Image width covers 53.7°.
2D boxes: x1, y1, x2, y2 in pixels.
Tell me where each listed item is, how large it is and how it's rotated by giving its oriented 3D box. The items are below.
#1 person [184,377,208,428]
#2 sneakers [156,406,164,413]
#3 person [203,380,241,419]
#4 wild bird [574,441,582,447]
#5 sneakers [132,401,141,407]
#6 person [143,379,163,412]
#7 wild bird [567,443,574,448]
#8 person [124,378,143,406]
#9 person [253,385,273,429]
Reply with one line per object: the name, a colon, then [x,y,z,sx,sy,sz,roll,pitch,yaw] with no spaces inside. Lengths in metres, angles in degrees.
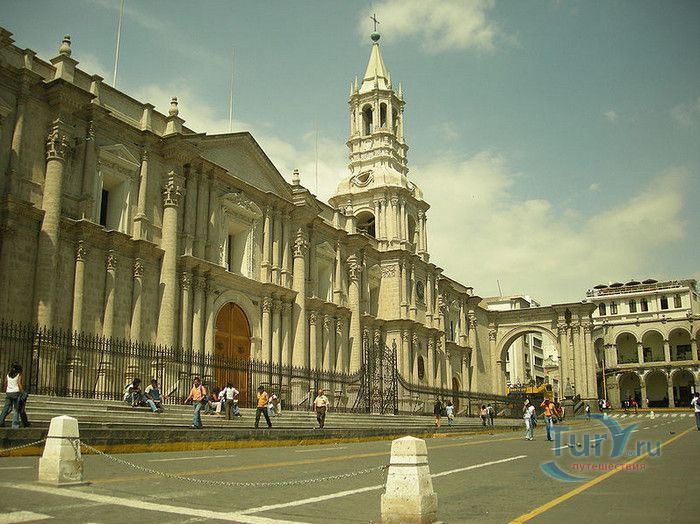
person: [-5.361,4.977,24.226,0.703,1.672,0.717,-2,-9,-8]
sneakers: [-6.738,5.275,24.497,0.225,0.219,0.389,-2,-11,-12]
person: [-5.227,5.648,27.905,1.071,0.862,1.845,16,8,-6]
wild bird: [7.281,5.870,22.080,0.185,0.151,1.020,-6,-17,17]
sneakers: [-7.592,5.140,24.741,0.227,0.210,0.407,-7,-18,22]
person: [-7.149,4.942,25.132,0.679,1.211,0.832,18,-34,-37]
wild bird: [7.020,5.857,21.988,0.212,0.122,0.670,-6,-17,16]
person: [-7.878,4.776,25.200,0.593,1.074,1.606,7,-18,-25]
person: [-3.286,5.562,26.461,0.625,1.625,1.608,1,-16,-7]
